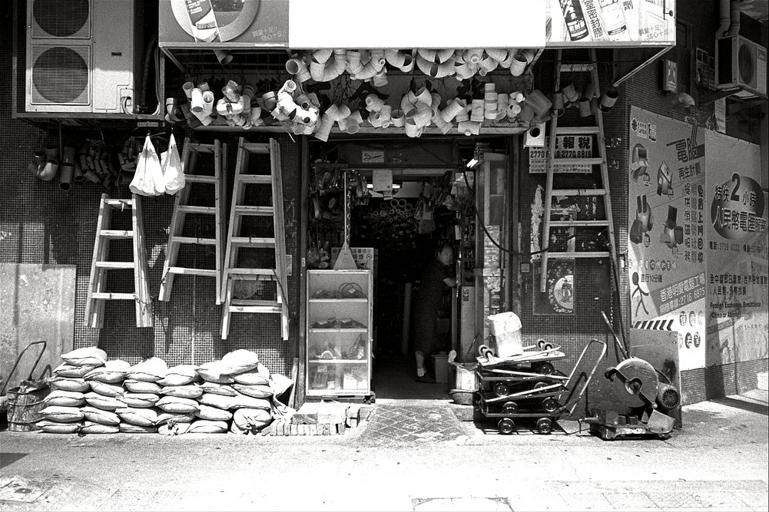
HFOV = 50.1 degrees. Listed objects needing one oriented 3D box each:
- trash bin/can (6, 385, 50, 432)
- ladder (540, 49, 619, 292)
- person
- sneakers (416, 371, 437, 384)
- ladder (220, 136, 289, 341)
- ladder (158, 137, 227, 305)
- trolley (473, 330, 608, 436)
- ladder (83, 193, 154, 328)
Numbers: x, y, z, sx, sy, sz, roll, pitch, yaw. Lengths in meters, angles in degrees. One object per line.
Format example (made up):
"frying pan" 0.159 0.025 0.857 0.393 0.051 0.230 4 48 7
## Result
"trash bin/can" -4.813 2.076 11.239 0.471 0.577 0.603 0 -3 -4
"ladder" 2.730 -1.212 11.897 1.174 3.290 0.745 0 1 3
"person" 0.840 0.912 13.653 0.670 2.263 0.787 0 -4 2
"sneakers" 0.688 1.983 13.334 0.330 0.231 0.118 -1 -5 6
"ladder" -1.802 -0.229 11.590 0.975 2.821 0.525 1 -5 -10
"ladder" -2.674 -0.482 11.567 0.881 2.269 0.484 1 -5 -10
"trolley" 2.038 1.720 11.710 1.471 1.400 0.923 0 -2 5
"ladder" -3.708 0.077 11.534 0.937 1.860 0.496 1 -5 -11
